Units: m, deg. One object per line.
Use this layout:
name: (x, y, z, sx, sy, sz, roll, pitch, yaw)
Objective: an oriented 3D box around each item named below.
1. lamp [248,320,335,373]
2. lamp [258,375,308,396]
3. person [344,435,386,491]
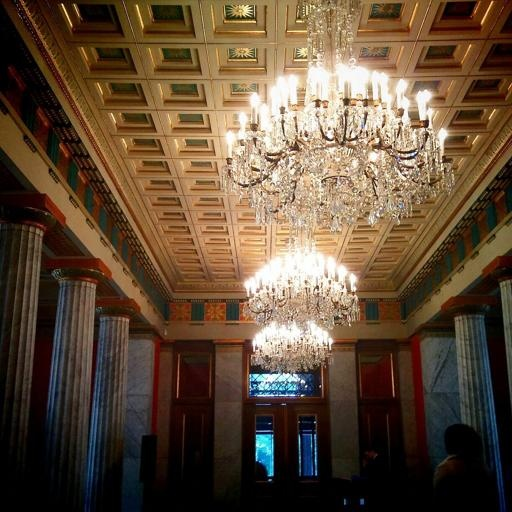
lamp: (0.733, 2.095, 9.698, 1.493, 1.496, 1.664, 0, -28, 0)
lamp: (0.716, 3.558, 12.077, 1.343, 0.598, 0.150, -4, -23, 6)
person: (2.510, 5.328, 10.933, 0.804, 1.672, 0.830, 9, -19, -13)
